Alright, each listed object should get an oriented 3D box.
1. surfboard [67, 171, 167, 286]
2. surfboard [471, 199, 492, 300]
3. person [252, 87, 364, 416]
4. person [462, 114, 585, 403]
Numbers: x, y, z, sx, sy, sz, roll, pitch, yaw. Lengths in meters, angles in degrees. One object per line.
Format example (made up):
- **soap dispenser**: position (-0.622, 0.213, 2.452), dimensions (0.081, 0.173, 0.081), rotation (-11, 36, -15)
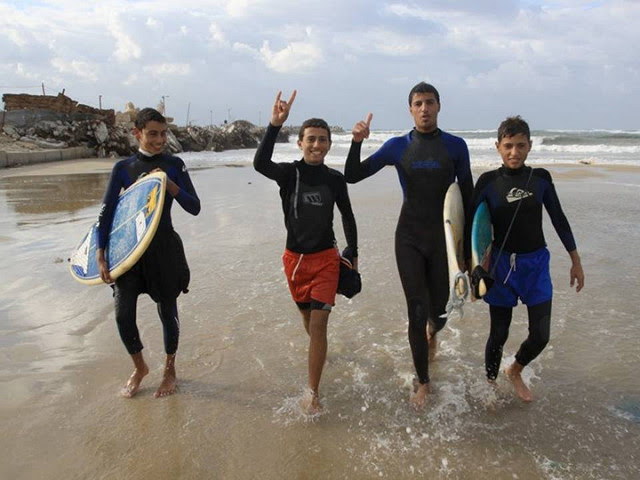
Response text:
- **surfboard**: position (-1.805, -0.092, 4.130), dimensions (1.151, 1.014, 0.493), rotation (10, 16, 35)
- **surfboard**: position (1.327, 0.067, 3.877), dimensions (0.243, 0.808, 0.212), rotation (2, 8, 22)
- **person**: position (-0.032, 0.016, 4.152), dimensions (0.803, 2.566, 0.973), rotation (-9, 16, -33)
- **person**: position (1.732, 0.149, 4.032), dimensions (0.878, 2.336, 0.639), rotation (8, 15, 28)
